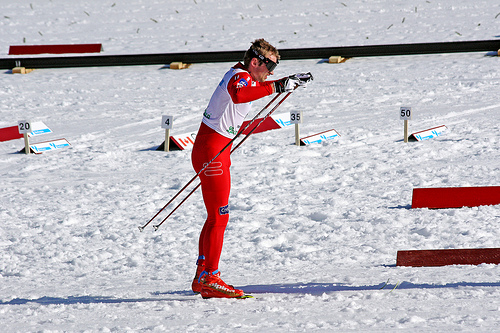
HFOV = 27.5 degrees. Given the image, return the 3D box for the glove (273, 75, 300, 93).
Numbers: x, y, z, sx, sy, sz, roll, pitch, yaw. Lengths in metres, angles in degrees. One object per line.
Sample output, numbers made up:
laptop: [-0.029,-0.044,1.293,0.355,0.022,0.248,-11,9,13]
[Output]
glove: [0.667,-1.530,19.054,0.505,0.278,0.240,-12,30,-23]
